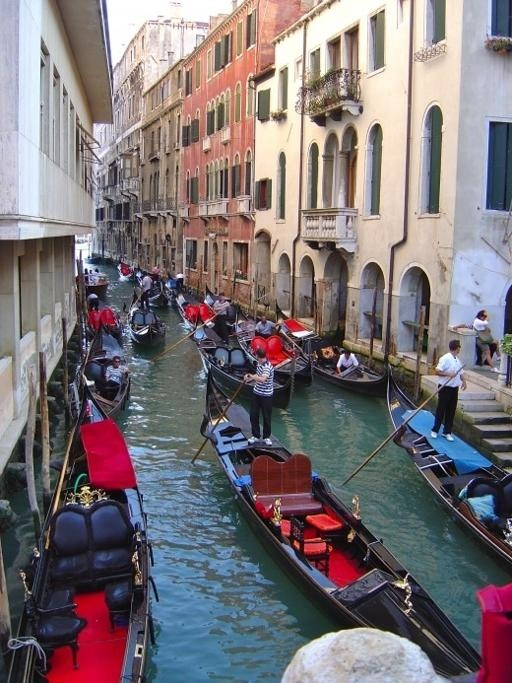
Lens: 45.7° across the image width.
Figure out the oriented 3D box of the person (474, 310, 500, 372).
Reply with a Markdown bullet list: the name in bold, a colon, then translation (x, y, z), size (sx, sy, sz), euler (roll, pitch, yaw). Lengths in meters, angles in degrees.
- **person**: translation (5.122, -0.008, 13.476), size (0.348, 1.413, 0.555), euler (-11, 2, -2)

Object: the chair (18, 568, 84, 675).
- **chair**: translation (-1.712, 2.007, 5.118), size (0.430, 0.864, 0.884), euler (-4, 12, -16)

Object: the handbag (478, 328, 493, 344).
- **handbag**: translation (5.055, -0.117, 13.315), size (0.245, 0.354, 0.119), euler (-10, -28, -2)

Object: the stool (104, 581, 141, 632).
- **stool**: translation (-1.240, 2.343, 5.574), size (0.286, 0.389, 0.473), euler (-11, 27, -14)

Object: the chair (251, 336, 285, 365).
- **chair**: translation (0.435, 0.428, 17.154), size (0.709, 1.146, 0.766), euler (-5, 10, -25)

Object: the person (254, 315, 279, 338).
- **person**: translation (0.311, -0.442, 20.179), size (0.620, 1.020, 0.625), euler (-1, 1, -7)

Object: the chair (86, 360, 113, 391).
- **chair**: translation (-3.719, 0.794, 14.456), size (0.493, 0.886, 0.562), euler (-1, 4, -32)

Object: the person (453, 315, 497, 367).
- **person**: translation (4.971, -0.050, 13.535), size (0.731, 1.438, 0.534), euler (-8, 8, 18)

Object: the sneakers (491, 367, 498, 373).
- **sneakers**: translation (5.229, 0.622, 13.258), size (0.059, 0.113, 0.216), euler (-5, 5, -13)

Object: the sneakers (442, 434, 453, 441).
- **sneakers**: translation (3.222, 1.599, 10.117), size (0.054, 0.084, 0.163), euler (-4, 8, -18)

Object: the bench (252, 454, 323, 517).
- **bench**: translation (0.374, 2.224, 8.162), size (0.914, 0.962, 0.590), euler (0, 3, -7)
